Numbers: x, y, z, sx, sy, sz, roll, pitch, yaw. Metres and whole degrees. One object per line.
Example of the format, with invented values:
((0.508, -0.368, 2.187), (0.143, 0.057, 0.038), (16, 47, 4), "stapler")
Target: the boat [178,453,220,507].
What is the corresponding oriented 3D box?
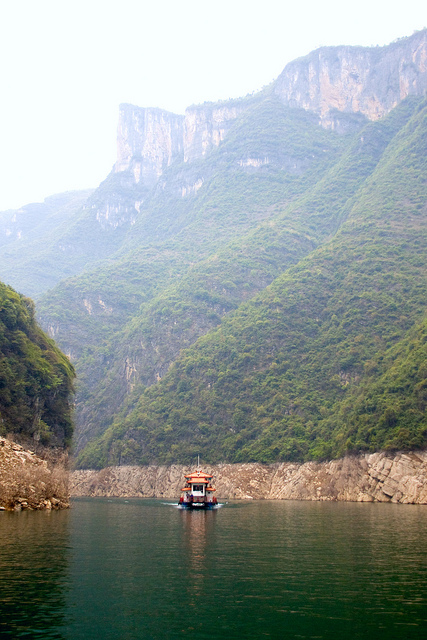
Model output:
((-1.977, 20.896, 113.596), (4.412, 5.097, 8.443), (1, -7, -4), "boat")
